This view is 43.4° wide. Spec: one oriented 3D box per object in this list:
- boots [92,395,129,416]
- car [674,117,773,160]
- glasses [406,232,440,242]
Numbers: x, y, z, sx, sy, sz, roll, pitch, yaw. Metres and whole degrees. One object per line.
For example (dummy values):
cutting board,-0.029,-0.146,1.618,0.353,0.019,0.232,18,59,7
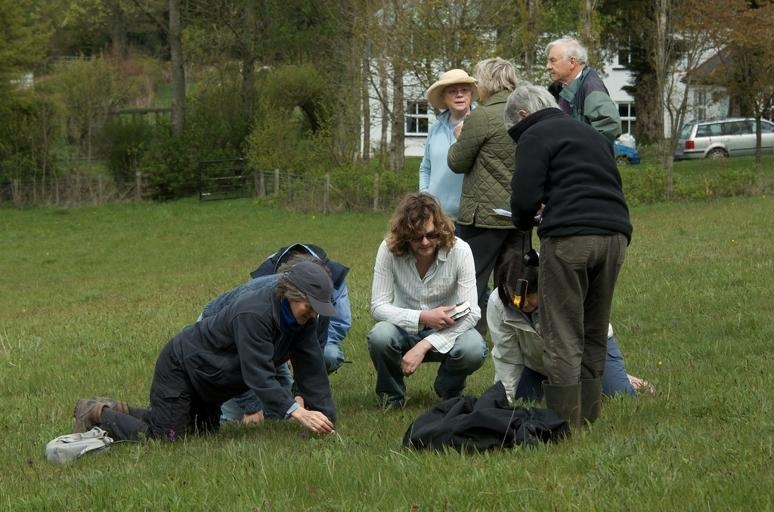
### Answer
boots,-4.291,2.330,15.281,0.330,0.173,0.279,12,-3,-5
car,14.361,-4.529,40.848,4.013,1.665,2.119,-7,10,-1
glasses,0.612,-0.318,15.538,0.471,0.138,0.095,-7,11,-15
